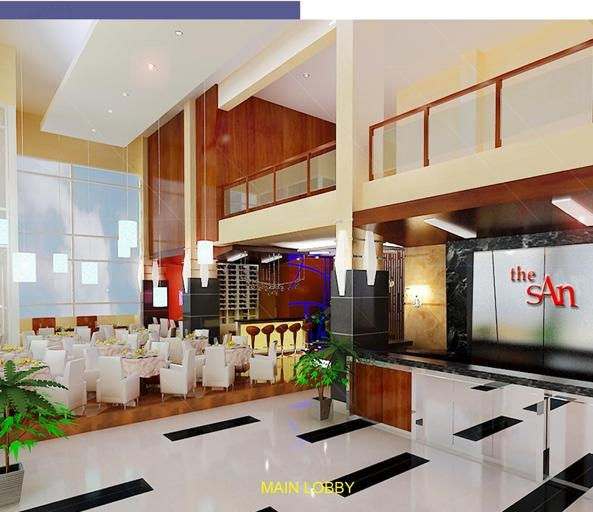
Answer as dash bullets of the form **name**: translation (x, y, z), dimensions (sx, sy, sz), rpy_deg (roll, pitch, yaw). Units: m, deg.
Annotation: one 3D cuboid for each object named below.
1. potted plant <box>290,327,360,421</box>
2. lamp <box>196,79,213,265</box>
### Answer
- **potted plant**: translation (0.657, 1.988, 7.530), dimensions (1.170, 1.455, 1.291), rpy_deg (1, -1, 43)
- **lamp**: translation (-2.541, -2.572, 11.975), dimensions (0.273, 4.344, 1.032), rpy_deg (0, 0, -41)
